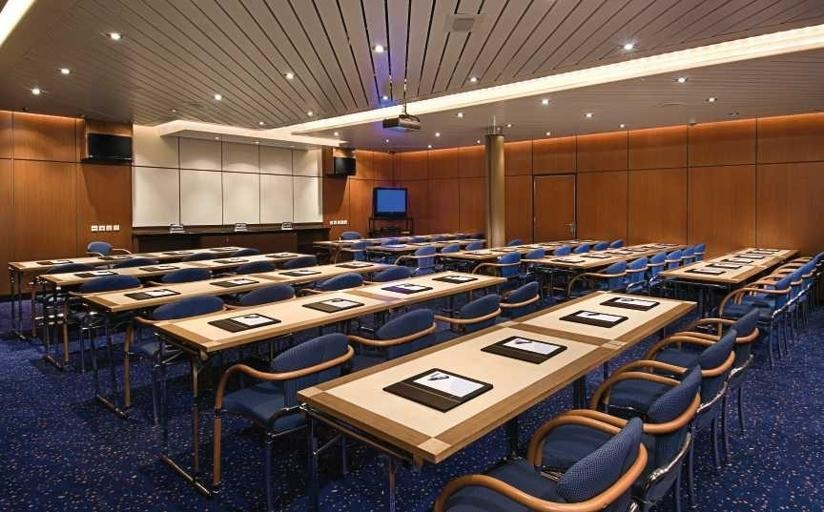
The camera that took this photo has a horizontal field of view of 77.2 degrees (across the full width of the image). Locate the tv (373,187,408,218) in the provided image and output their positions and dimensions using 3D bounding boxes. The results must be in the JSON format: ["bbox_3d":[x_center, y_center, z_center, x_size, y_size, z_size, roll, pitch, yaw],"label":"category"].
[{"bbox_3d":[-0.750,-1.730,16.650,1.210,0.803,0.588,-4,6,-36],"label":"tv"}]

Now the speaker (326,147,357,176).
[{"bbox_3d":[-2.242,-2.936,15.893,0.558,0.805,1.072,1,3,41],"label":"speaker"}]

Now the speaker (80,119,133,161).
[{"bbox_3d":[-6.925,-2.615,11.596,0.582,0.818,1.123,1,3,43],"label":"speaker"}]
